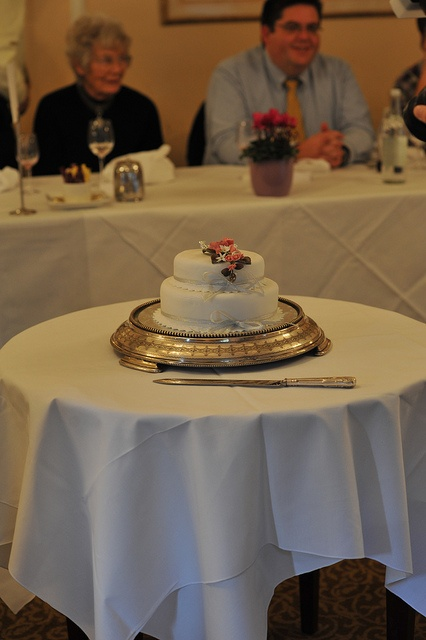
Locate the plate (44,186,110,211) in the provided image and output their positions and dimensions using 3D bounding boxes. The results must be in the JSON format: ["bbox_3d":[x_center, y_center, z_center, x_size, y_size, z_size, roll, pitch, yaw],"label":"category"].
[{"bbox_3d":[-0.420,-0.374,1.865,0.146,0.025,0.141,-10,29,-16],"label":"plate"}]

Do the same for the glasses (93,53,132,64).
[{"bbox_3d":[-0.449,-1.196,2.752,0.175,0.038,0.051,-12,14,-36],"label":"glasses"}]

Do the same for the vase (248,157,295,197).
[{"bbox_3d":[0.195,-0.469,1.975,0.135,0.098,0.125,1,15,8],"label":"vase"}]

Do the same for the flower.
[{"bbox_3d":[0.175,-0.582,1.893,0.163,0.145,0.164,-3,16,-9],"label":"flower"}]

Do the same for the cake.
[{"bbox_3d":[0.002,-0.077,0.934,0.167,0.102,0.164,4,12,14],"label":"cake"}]
